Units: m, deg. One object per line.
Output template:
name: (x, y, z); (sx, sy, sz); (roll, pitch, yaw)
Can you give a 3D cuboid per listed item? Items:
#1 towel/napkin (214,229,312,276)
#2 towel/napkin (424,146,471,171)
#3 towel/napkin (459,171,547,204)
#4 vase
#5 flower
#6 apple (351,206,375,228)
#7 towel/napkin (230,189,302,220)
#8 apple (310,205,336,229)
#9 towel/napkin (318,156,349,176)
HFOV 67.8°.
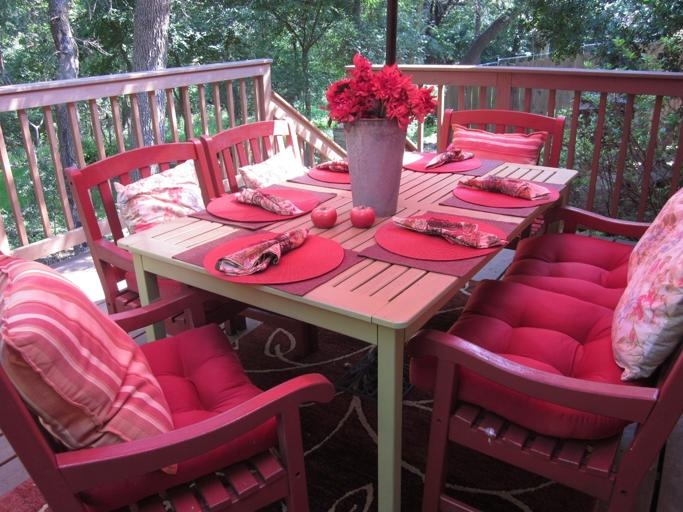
towel/napkin: (-0.232, -0.037, 1.513); (0.121, 0.047, 0.218); (-2, 18, 41)
towel/napkin: (0.491, -0.470, 2.375); (0.261, 0.062, 0.102); (-25, 30, -39)
towel/napkin: (0.609, -0.289, 1.979); (0.342, 0.082, 0.106); (12, 26, 29)
vase: (0.122, -0.354, 1.858); (0.230, 0.325, 0.257); (17, 29, 31)
flower: (0.128, -0.560, 1.709); (0.364, 0.249, 0.181); (-1, 19, -2)
apple: (0.070, -0.134, 1.717); (0.070, 0.064, 0.072); (4, 21, 31)
towel/napkin: (-0.269, -0.199, 1.932); (0.330, 0.082, 0.096); (13, 3, 27)
apple: (-0.058, -0.134, 1.723); (0.073, 0.067, 0.074); (11, 28, 31)
towel/napkin: (-0.024, -0.436, 2.345); (0.116, 0.035, 0.109); (14, 24, 37)
